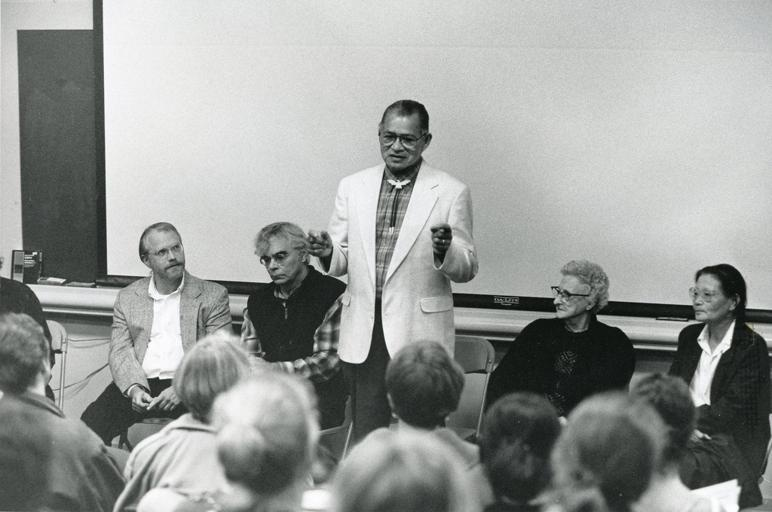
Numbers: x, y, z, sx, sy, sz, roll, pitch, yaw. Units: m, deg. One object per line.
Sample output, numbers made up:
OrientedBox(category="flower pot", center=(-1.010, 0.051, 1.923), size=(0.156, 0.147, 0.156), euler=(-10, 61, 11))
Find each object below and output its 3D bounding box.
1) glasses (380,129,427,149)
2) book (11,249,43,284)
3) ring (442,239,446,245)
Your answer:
OrientedBox(category="glasses", center=(0.080, -0.520, 3.578), size=(0.204, 0.073, 0.070), euler=(6, -1, 0))
OrientedBox(category="book", center=(-2.215, 0.057, 4.935), size=(0.202, 0.209, 0.112), euler=(1, 0, 1))
OrientedBox(category="ring", center=(0.248, -0.066, 3.427), size=(0.023, 0.024, 0.013), euler=(1, 0, 7))
